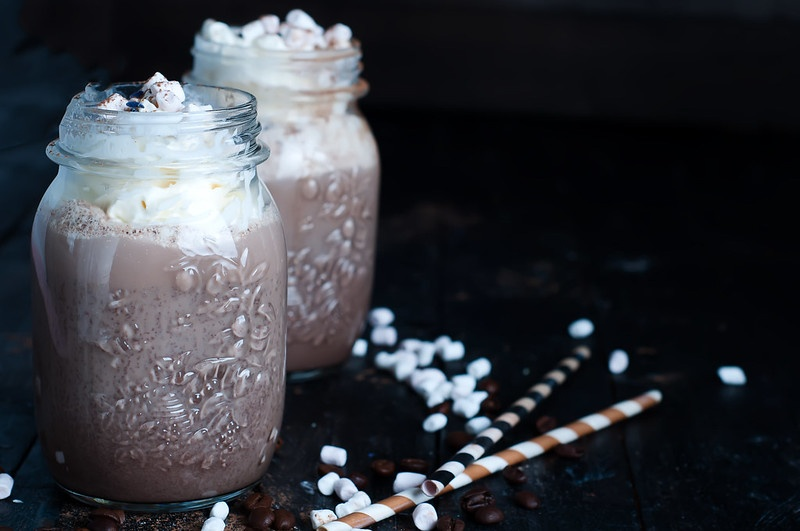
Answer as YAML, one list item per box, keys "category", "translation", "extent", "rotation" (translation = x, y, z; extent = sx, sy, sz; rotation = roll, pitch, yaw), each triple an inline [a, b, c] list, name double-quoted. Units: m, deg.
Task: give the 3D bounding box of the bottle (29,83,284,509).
- category: "bottle"
  translation: [-0.316, 0.055, 1.145]
  extent: [0.323, 0.506, 0.258]
  rotation: [3, 32, -9]

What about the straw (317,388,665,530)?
- category: "straw"
  translation: [0.133, 0.293, 1.282]
  extent: [0.410, 0.024, 0.034]
  rotation: [-20, 48, -34]

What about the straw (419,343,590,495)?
- category: "straw"
  translation: [0.163, 0.249, 1.367]
  extent: [0.034, 0.042, 0.430]
  rotation: [-5, 17, 32]
